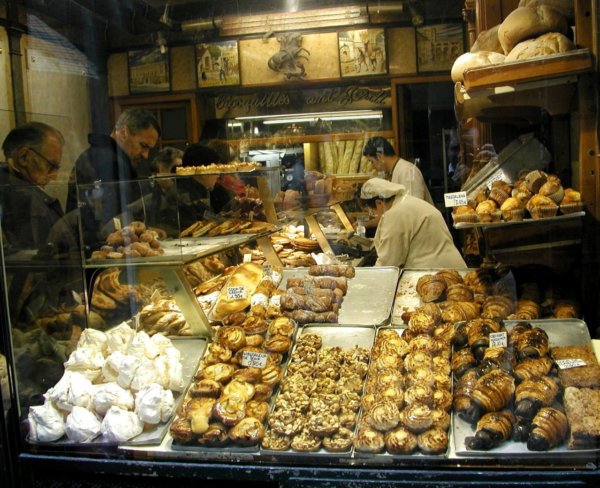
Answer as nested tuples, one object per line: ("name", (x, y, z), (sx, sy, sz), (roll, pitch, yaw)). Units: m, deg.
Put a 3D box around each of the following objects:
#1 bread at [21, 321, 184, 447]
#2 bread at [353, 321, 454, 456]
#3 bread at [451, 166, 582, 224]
("bread", (-0.756, 0.596, 3.143), (0.374, 0.177, 0.551), (-1, 23, -1))
("bread", (0.414, 0.578, 3.073), (0.373, 0.358, 0.425), (-2, 9, 11))
("bread", (0.928, -0.187, 3.261), (0.355, 0.146, 0.260), (-7, 6, 19))
